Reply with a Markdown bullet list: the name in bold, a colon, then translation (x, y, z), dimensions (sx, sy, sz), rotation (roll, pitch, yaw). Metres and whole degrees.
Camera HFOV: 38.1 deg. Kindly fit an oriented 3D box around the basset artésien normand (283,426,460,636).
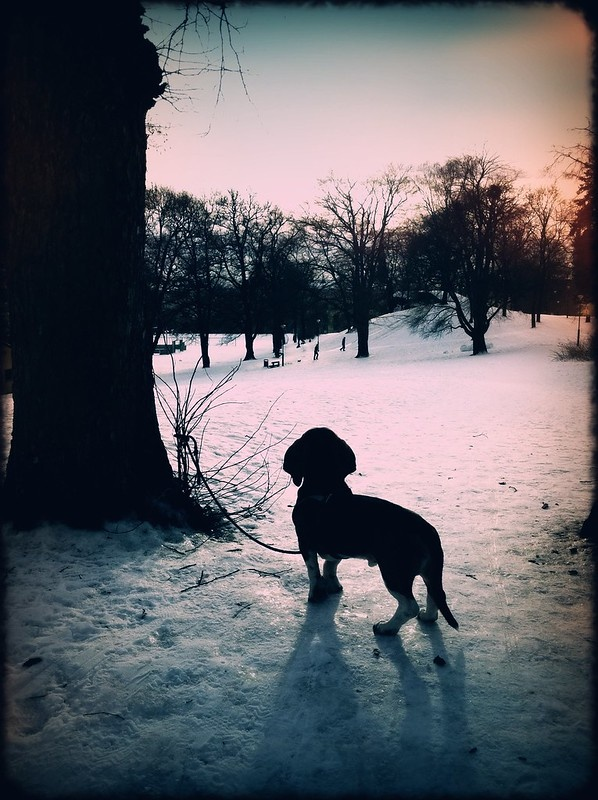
- **basset artésien normand**: translation (0.358, 0.718, 4.934), dimensions (0.481, 0.958, 1.433), rotation (-4, 9, -34)
